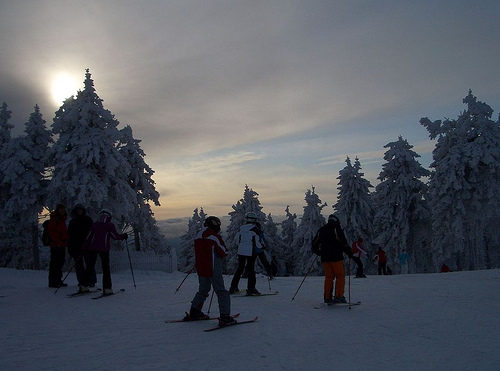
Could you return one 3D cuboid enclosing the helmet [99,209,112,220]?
[{"bbox_3d":[-4.579,0.923,13.197,0.293,0.360,0.393,-1,0,-9],"label":"helmet"}]

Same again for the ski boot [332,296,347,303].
[{"bbox_3d":[2.572,3.253,11.866,0.389,0.192,0.207,0,0,16],"label":"ski boot"}]

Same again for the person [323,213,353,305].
[{"bbox_3d":[2.466,2.137,11.866,0.723,2.602,0.464,-1,0,12],"label":"person"}]

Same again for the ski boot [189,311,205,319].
[{"bbox_3d":[-1.324,3.234,10.393,0.378,0.195,0.108,-1,0,-11],"label":"ski boot"}]

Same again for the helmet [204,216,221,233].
[{"bbox_3d":[-0.951,0.982,10.428,0.399,0.420,0.434,-1,0,-7],"label":"helmet"}]

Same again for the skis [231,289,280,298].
[{"bbox_3d":[0.146,3.524,13.443,1.720,0.225,0.252,-1,8,5],"label":"skis"}]

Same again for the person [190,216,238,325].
[{"bbox_3d":[-0.923,2.066,10.211,1.101,2.559,0.543,-1,0,32],"label":"person"}]

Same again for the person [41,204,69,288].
[{"bbox_3d":[-6.708,2.104,14.331,0.831,2.918,1.168,0,0,-26],"label":"person"}]

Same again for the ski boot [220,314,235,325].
[{"bbox_3d":[-0.547,3.210,9.919,0.413,0.294,0.150,-3,-2,-16],"label":"ski boot"}]

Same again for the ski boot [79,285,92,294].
[{"bbox_3d":[-5.288,3.339,13.284,0.412,0.264,0.258,16,9,-29],"label":"ski boot"}]

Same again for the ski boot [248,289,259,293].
[{"bbox_3d":[0.095,3.391,13.327,0.329,0.130,0.115,-1,0,-10],"label":"ski boot"}]
